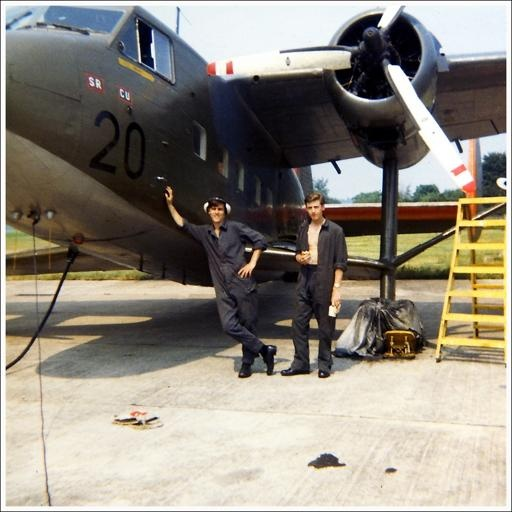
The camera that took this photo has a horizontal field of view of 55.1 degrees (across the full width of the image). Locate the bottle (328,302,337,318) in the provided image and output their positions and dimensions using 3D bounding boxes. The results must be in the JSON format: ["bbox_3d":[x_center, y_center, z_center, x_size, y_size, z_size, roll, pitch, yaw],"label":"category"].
[{"bbox_3d":[0.721,0.522,4.616,0.109,0.110,0.102,3,9,9],"label":"bottle"}]

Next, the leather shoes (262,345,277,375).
[{"bbox_3d":[0.125,1.000,4.815,0.159,0.305,0.107,-6,11,-17],"label":"leather shoes"}]

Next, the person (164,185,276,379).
[{"bbox_3d":[-0.344,0.261,4.814,1.062,1.798,0.555,1,-3,20],"label":"person"}]

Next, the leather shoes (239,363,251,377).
[{"bbox_3d":[-0.107,1.102,4.695,0.117,0.135,0.147,2,-3,4],"label":"leather shoes"}]

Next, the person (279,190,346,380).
[{"bbox_3d":[0.570,0.287,4.696,0.591,1.760,0.436,2,-3,16],"label":"person"}]

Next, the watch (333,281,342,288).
[{"bbox_3d":[0.763,0.270,4.526,0.050,0.046,0.044,-10,-10,-9],"label":"watch"}]
